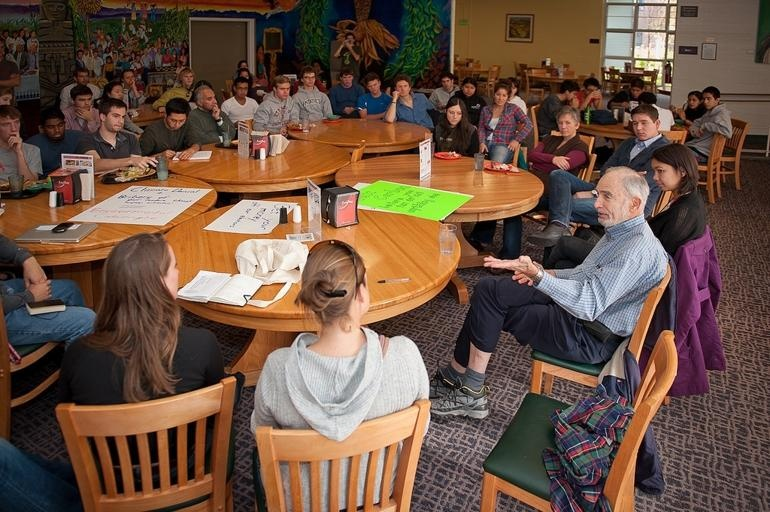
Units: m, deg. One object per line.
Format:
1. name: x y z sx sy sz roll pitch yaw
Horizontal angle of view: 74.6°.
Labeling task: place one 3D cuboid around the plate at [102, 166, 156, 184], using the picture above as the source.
1. plate: -2.116 -0.674 4.210 0.293 0.058 0.217 -2 33 -5

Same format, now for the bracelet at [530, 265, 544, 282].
1. bracelet: 0.817 0.094 2.724 0.046 0.081 0.061 3 35 -18

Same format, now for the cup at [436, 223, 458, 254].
1. cup: 0.386 -0.096 3.100 0.111 0.170 0.111 2 2 0

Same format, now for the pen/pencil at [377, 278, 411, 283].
1. pen/pencil: 0.048 0.130 2.767 0.129 0.019 0.022 0 1 -10

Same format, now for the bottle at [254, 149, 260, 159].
1. bottle: -1.230 -0.983 4.879 0.065 0.074 0.068 0 7 -7

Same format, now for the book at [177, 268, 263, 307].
1. book: -0.855 0.159 2.650 0.399 0.035 0.305 0 27 3

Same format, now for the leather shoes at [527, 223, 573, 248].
1. leather shoes: 1.496 -0.203 4.578 0.455 0.196 0.182 -9 11 -27

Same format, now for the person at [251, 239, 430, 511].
1. person: -0.183 0.353 1.862 0.643 0.732 0.506 13 23 33

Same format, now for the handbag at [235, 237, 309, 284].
1. handbag: -0.621 -0.005 2.868 0.345 0.364 0.117 -11 60 -45

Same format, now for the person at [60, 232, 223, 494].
1. person: -1.066 0.440 2.418 0.624 1.300 0.727 0 45 -14

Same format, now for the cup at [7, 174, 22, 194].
1. cup: -2.733 -0.539 3.750 0.107 0.122 0.110 5 19 -2
